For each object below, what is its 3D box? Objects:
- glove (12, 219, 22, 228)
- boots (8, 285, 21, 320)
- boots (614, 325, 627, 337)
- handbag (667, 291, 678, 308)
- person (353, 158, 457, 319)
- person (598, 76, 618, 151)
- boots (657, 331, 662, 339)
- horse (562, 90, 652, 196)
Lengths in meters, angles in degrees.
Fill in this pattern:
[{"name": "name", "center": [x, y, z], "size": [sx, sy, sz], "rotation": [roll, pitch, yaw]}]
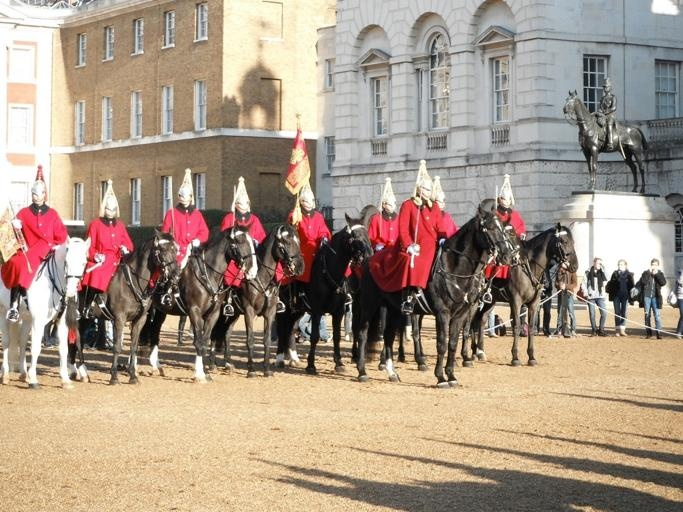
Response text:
[{"name": "glove", "center": [-6.554, -0.630, 27.920], "size": [0.205, 0.204, 0.114], "rotation": [-6, 12, -34]}, {"name": "boots", "center": [-6.613, 0.976, 27.756], "size": [0.245, 0.724, 0.389], "rotation": [-5, 11, -29]}, {"name": "boots", "center": [7.307, 1.962, 35.804], "size": [0.165, 0.338, 0.472], "rotation": [1, -9, -7]}, {"name": "handbag", "center": [8.655, 1.149, 35.862], "size": [0.217, 0.588, 0.416], "rotation": [-5, -11, 19]}, {"name": "person", "center": [1.459, -0.231, 28.187], "size": [1.135, 2.565, 1.438], "rotation": [-4, 10, -23]}, {"name": "person", "center": [8.222, -4.281, 42.204], "size": [0.614, 2.178, 0.737], "rotation": [2, 10, 12]}, {"name": "boots", "center": [8.056, 2.024, 34.800], "size": [0.147, 0.219, 0.130], "rotation": [0, -2, -8]}, {"name": "horse", "center": [8.172, -3.425, 42.460], "size": [3.488, 2.965, 1.043], "rotation": [4, -4, -30]}]
